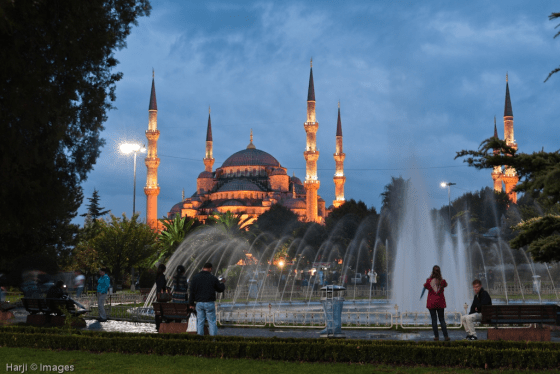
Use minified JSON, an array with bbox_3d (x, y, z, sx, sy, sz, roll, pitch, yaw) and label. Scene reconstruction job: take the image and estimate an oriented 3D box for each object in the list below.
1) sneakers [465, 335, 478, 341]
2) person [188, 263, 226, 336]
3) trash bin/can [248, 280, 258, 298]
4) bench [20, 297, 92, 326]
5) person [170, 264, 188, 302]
[{"bbox_3d":[5.415,4.252,22.679,0.450,0.199,0.156,2,-9,18],"label":"sneakers"},{"bbox_3d":[-2.195,3.231,23.269,0.994,2.041,0.512,0,-14,2],"label":"person"},{"bbox_3d":[-1.934,7.089,55.597,0.741,1.394,0.753,1,-5,-8],"label":"trash bin/can"},{"bbox_3d":[-7.662,4.149,26.894,1.022,1.015,3.364,13,-19,-40],"label":"bench"},{"bbox_3d":[-3.208,2.988,25.371,0.519,1.434,2.175,3,-15,-7],"label":"person"}]
